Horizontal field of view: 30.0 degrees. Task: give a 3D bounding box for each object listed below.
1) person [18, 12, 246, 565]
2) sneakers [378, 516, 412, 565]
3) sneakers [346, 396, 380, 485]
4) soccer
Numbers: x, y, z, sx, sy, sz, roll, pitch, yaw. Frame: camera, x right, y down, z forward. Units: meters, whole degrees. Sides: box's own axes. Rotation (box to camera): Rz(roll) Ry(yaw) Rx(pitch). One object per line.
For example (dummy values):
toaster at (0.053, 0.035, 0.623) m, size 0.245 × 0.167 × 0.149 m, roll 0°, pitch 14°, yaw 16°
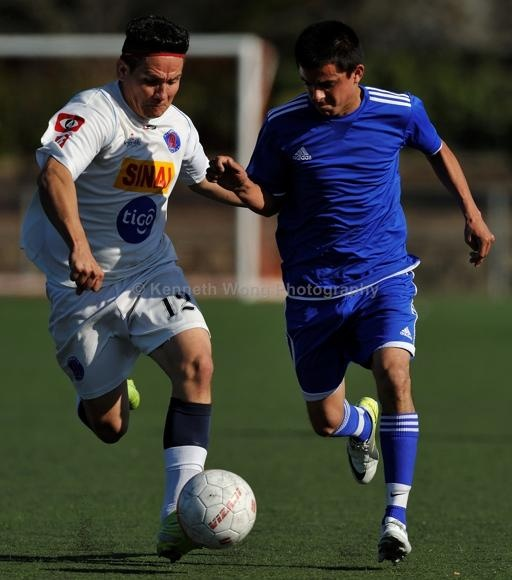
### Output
person at (-0.604, -0.081, 4.045) m, size 0.869 × 2.224 × 1.108 m, roll 2°, pitch 0°, yaw -2°
sneakers at (0.508, 0.930, 3.550) m, size 0.109 × 0.161 × 0.154 m, roll 2°, pitch 0°, yaw 7°
sneakers at (0.506, 0.796, 4.986) m, size 0.184 × 0.431 × 0.202 m, roll 4°, pitch 11°, yaw 25°
soccer at (-0.145, 0.793, 3.476) m, size 0.320 × 0.258 × 0.294 m, roll 6°, pitch -14°, yaw -15°
